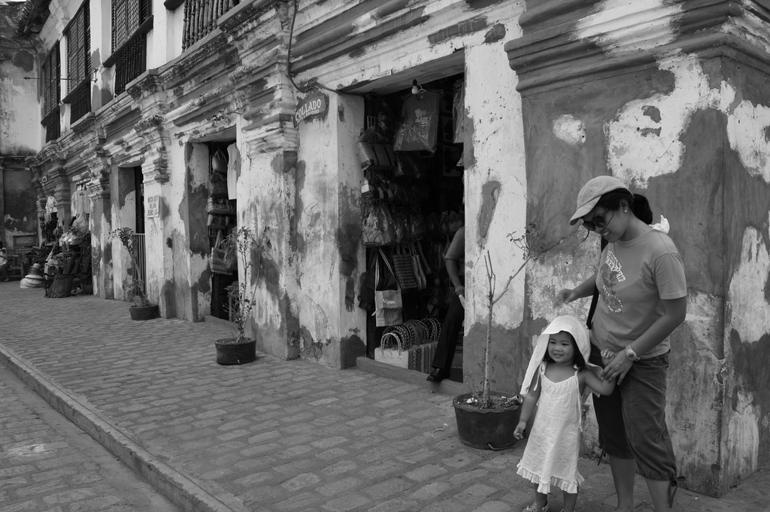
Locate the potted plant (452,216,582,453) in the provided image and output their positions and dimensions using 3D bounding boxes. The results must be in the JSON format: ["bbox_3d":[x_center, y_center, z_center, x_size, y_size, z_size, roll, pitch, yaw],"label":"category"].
[{"bbox_3d":[1.106,0.811,6.004,0.887,1.994,0.792,0,3,-7],"label":"potted plant"}]

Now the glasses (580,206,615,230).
[{"bbox_3d":[1.596,-0.279,4.640,0.195,0.065,0.148,-40,9,-29],"label":"glasses"}]

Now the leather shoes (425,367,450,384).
[{"bbox_3d":[0.567,1.355,7.108,0.321,0.142,0.122,1,3,-29],"label":"leather shoes"}]

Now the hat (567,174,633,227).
[{"bbox_3d":[1.622,-0.477,4.763,0.512,0.275,0.380,-18,-12,-15],"label":"hat"}]

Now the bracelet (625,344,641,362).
[{"bbox_3d":[1.818,0.718,4.566,0.114,0.080,0.123,24,-20,15],"label":"bracelet"}]
